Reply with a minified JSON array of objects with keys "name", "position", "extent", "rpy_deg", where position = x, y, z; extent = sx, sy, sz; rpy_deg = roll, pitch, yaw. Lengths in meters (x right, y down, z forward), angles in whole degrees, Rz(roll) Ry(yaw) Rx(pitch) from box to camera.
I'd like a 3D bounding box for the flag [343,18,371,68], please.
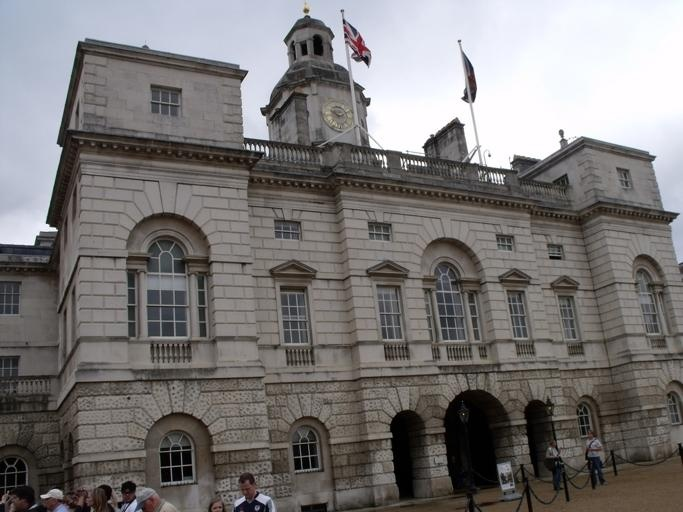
[{"name":"flag","position":[0.699,-12.351,35.289],"extent":[1.289,0.286,3.538],"rpy_deg":[4,-32,26]}]
